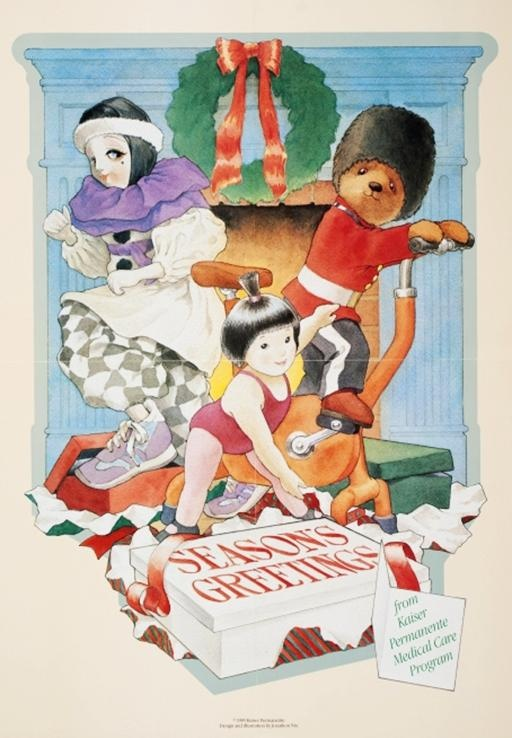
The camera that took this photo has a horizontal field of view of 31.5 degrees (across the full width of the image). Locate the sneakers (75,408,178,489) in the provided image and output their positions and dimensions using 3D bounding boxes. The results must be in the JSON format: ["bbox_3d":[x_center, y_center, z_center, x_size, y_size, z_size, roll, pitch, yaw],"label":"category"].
[{"bbox_3d":[-0.419,0.228,2.827,0.355,0.194,0.157,-17,34,-35],"label":"sneakers"}]

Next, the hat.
[{"bbox_3d":[-0.430,-0.738,2.804,0.229,0.075,0.173,2,1,-31],"label":"hat"}]
